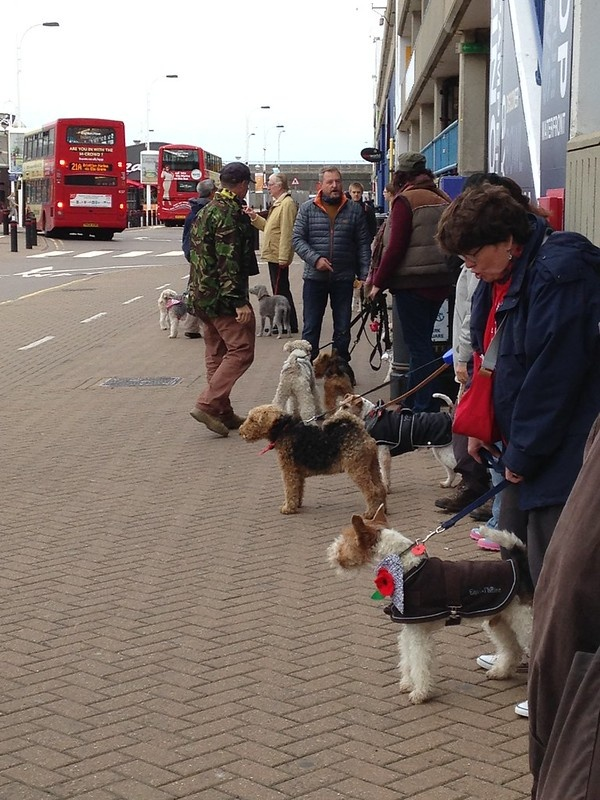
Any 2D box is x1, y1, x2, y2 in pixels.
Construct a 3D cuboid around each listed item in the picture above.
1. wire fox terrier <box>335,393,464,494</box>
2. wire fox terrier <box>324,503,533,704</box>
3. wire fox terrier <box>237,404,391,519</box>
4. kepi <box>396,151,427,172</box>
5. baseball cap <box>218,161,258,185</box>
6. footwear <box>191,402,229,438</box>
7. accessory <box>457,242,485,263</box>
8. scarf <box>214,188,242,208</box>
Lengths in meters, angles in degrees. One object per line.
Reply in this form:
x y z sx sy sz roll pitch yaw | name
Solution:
0.764 0.327 5.768 1.294 0.650 0.331 -1 -2 -22 | wire fox terrier
0.555 0.828 3.070 0.906 0.690 0.272 1 -2 -11 | wire fox terrier
0.118 0.467 5.491 1.056 0.846 0.354 3 10 29 | wire fox terrier
1.044 -2.208 7.081 0.225 0.126 0.232 13 20 39 | kepi
-0.673 -2.330 7.759 0.305 0.246 0.542 -2 8 -5 | baseball cap
-0.946 0.207 8.013 0.129 0.381 0.159 -39 12 42 | footwear
0.610 -0.530 2.743 0.075 0.024 0.073 -16 51 -23 | accessory
-0.705 -2.032 7.673 0.268 0.139 0.189 27 9 -22 | scarf
